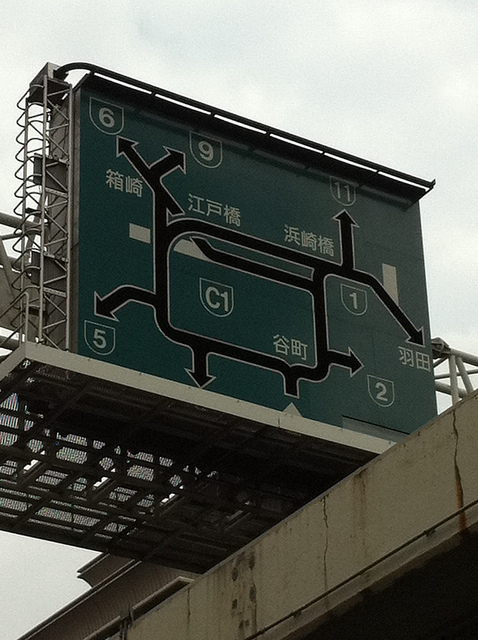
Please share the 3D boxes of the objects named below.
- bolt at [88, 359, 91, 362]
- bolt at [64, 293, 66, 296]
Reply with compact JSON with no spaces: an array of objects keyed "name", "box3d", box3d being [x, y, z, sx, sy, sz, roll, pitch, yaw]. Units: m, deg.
[{"name":"bolt","box3d":[-1.801,0.496,25.950,0.036,0.043,0.013,16,-31,-36]},{"name":"bolt","box3d":[-2.153,-0.310,26.597,0.026,0.030,0.014,-4,-3,3]}]
